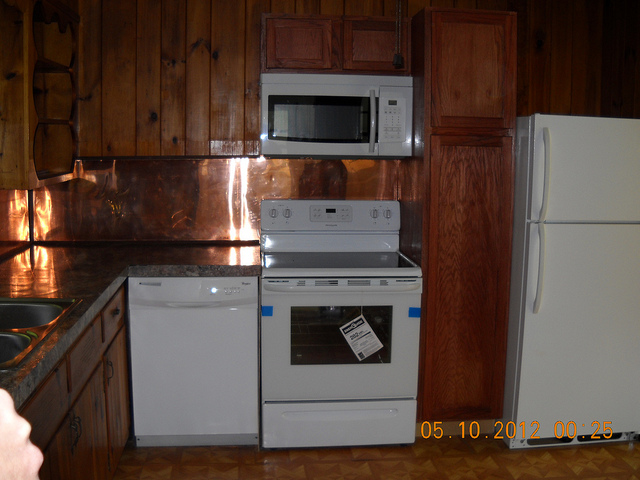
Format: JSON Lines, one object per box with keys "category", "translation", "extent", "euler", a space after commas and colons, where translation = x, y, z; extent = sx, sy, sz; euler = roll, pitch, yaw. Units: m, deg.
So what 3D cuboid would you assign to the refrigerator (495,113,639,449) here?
{"category": "refrigerator", "translation": [1.439, 0.268, 3.065], "extent": [0.750, 1.865, 0.247], "euler": [1, 6, -6]}
